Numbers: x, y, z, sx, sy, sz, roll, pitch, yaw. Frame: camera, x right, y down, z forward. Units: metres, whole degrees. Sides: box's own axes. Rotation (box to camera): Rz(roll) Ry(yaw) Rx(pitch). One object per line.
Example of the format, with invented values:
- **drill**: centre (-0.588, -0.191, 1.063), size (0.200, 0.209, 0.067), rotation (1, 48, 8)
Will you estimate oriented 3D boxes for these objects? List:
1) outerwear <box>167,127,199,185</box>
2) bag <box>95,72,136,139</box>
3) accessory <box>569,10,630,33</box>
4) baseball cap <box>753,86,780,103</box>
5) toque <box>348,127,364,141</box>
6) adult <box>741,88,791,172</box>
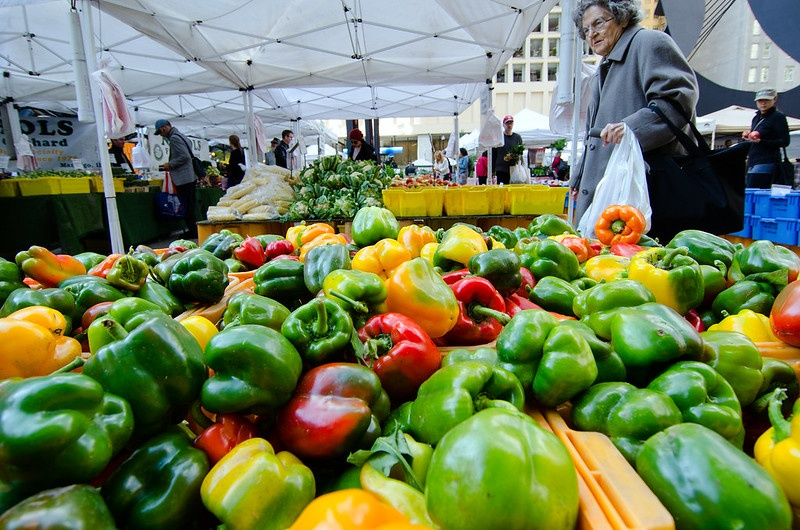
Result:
- **outerwear**: centre (-4.482, -2.201, 10.238), size (0.465, 1.141, 0.769), rotation (-7, 14, -23)
- **bag**: centre (-3.549, -1.987, 6.220), size (0.327, 0.796, 0.707), rotation (-8, 15, -27)
- **accessory**: centre (1.822, -2.210, 4.553), size (0.395, 0.186, 0.335), rotation (6, 12, -4)
- **baseball cap**: centre (5.848, -2.715, 7.998), size (0.353, 0.176, 0.243), rotation (-17, 12, -33)
- **toque**: centre (-0.874, -2.652, 10.134), size (0.292, 0.232, 0.211), rotation (-6, 7, -37)
- **adult**: centre (5.907, -2.170, 8.082), size (0.587, 1.274, 0.937), rotation (7, 16, 35)
